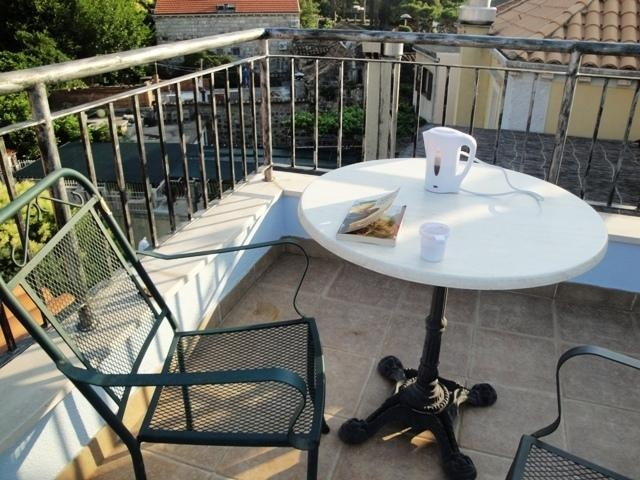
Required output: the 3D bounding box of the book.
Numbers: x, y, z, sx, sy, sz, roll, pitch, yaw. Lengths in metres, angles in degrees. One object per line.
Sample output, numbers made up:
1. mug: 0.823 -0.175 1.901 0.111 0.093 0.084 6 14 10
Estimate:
1. book: 0.184 -0.084 1.720 0.203 0.104 0.293 6 24 14
